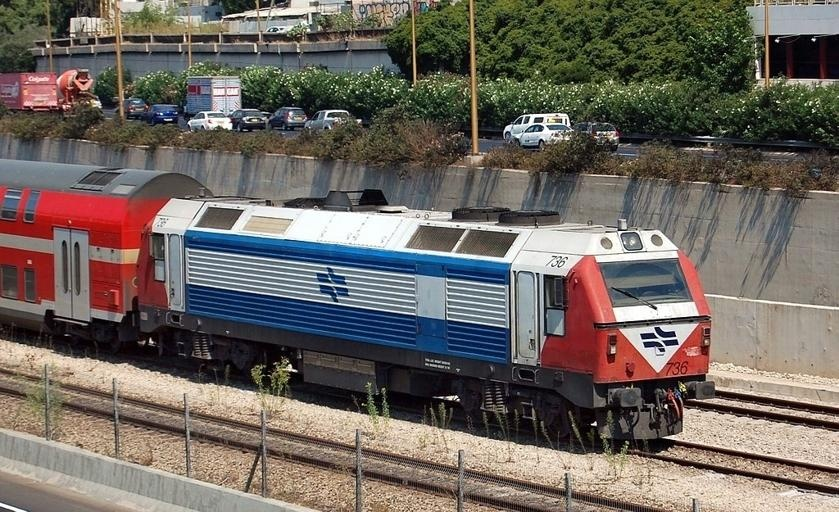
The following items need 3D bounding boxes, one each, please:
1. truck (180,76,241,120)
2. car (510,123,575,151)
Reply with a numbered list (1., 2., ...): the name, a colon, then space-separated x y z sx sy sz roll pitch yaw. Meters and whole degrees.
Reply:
1. truck: -14.941 -11.719 104.612 2.698 3.133 4.952 -4 4 -37
2. car: 6.879 -6.532 77.041 1.902 1.462 3.998 -6 6 -38
